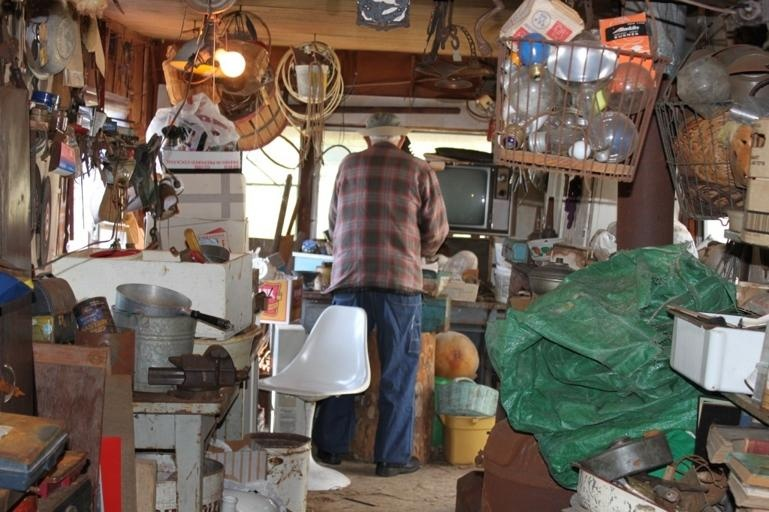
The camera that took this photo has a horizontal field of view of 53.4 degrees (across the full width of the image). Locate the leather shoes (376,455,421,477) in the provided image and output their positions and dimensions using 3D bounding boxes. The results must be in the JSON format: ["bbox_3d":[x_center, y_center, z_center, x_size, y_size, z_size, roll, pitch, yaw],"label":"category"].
[{"bbox_3d":[0.087,1.361,4.938,0.304,0.150,0.109,-10,15,-41],"label":"leather shoes"}]

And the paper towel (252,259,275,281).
[{"bbox_3d":[-0.771,0.075,4.909,0.128,0.166,0.116,5,12,11],"label":"paper towel"}]

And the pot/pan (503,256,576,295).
[{"bbox_3d":[0.827,0.101,4.096,0.268,0.330,0.280,0,4,-4],"label":"pot/pan"}]

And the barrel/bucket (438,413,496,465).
[{"bbox_3d":[0.682,1.308,5.267,0.404,0.353,0.449,5,-12,24],"label":"barrel/bucket"}]

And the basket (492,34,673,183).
[{"bbox_3d":[0.670,-0.490,2.758,0.572,0.432,0.482,10,0,12],"label":"basket"}]

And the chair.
[{"bbox_3d":[-0.348,0.718,3.952,0.493,0.883,0.542,5,1,26],"label":"chair"}]

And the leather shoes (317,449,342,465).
[{"bbox_3d":[-0.357,1.326,5.048,0.146,0.156,0.080,3,4,20],"label":"leather shoes"}]

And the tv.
[{"bbox_3d":[0.936,-0.580,8.342,0.779,0.791,0.470,2,-5,-1],"label":"tv"}]

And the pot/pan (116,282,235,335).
[{"bbox_3d":[-0.896,0.199,3.106,0.353,0.069,0.216,17,10,19],"label":"pot/pan"}]

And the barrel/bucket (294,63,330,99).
[{"bbox_3d":[-0.596,-1.445,6.317,0.265,0.289,0.308,4,12,14],"label":"barrel/bucket"}]

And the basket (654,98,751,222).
[{"bbox_3d":[1.128,-0.355,2.761,0.360,0.459,0.375,-5,15,-9],"label":"basket"}]
